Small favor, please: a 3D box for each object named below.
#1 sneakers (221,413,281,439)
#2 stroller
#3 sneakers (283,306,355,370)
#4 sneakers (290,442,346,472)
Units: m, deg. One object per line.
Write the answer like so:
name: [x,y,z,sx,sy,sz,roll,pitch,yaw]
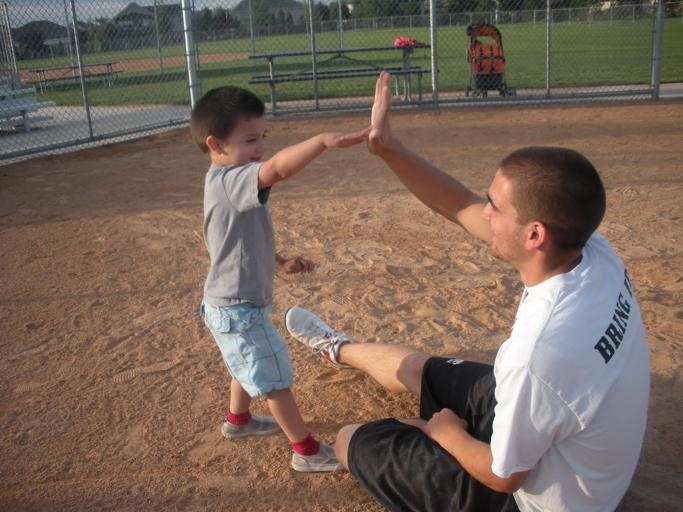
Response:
sneakers: [-0.481,0.894,3.267,0.269,0.119,0.130,-4,8,-16]
stroller: [2.740,-3.727,11.475,0.949,1.342,1.010,-12,19,-18]
sneakers: [-0.167,0.472,3.674,0.553,0.221,0.217,27,-2,-17]
sneakers: [-0.121,1.042,3.120,0.289,0.135,0.109,1,1,-4]
